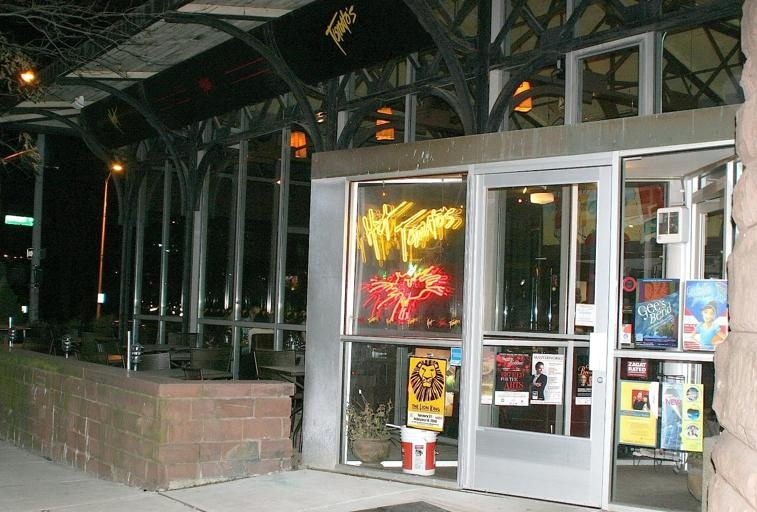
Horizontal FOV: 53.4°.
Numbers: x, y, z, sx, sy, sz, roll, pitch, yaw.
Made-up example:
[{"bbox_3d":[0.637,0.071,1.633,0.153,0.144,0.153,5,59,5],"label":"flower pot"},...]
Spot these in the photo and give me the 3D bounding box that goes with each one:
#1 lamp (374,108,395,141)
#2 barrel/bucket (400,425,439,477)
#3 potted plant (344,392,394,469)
[{"bbox_3d":[0.121,-2.089,11.885,0.384,0.544,0.093,3,12,37],"label":"lamp"},{"bbox_3d":[0.455,2.004,7.765,0.411,0.408,0.439,0,-4,0],"label":"barrel/bucket"},{"bbox_3d":[-0.089,1.830,7.880,0.613,0.780,0.627,1,-3,29],"label":"potted plant"}]
